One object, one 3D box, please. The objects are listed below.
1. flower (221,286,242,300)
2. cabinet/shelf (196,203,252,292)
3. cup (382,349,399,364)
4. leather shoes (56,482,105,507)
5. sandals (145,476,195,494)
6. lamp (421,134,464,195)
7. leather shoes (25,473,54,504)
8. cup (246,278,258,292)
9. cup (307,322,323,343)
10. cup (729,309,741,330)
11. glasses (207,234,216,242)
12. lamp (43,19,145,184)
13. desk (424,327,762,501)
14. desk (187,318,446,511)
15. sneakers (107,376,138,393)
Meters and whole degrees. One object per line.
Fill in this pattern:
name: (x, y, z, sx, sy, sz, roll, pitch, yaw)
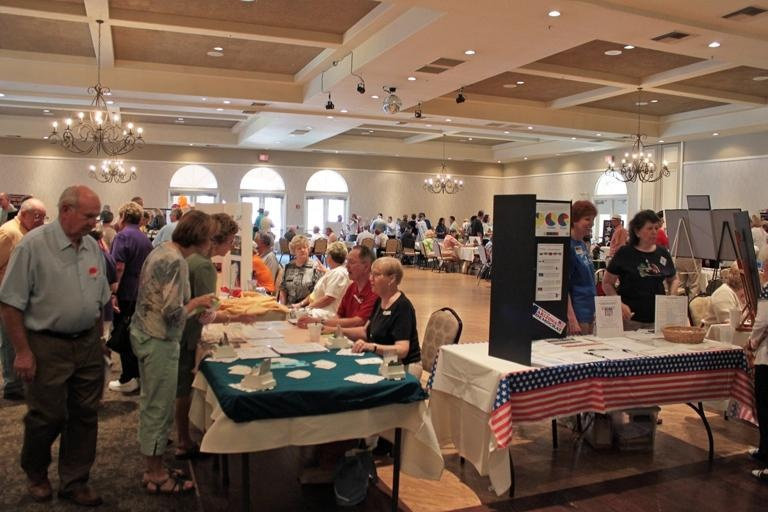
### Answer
flower: (-1.553, 0.385, 5.431, 0.174, 0.071, 0.218, 0, 2, -36)
cabinet/shelf: (-1.474, -0.063, 5.019, 0.327, 0.945, 0.969, 0, 3, -23)
cup: (0.037, 0.666, 3.557, 0.077, 0.072, 0.075, -1, -7, 0)
leather shoes: (-2.123, 1.649, 3.748, 0.296, 0.112, 0.139, 1, 1, 12)
sandals: (-1.547, 1.611, 3.850, 0.253, 0.086, 0.149, -1, 2, -5)
lamp: (2.271, -3.256, 20.045, 1.729, 2.693, 1.670, 1, -3, -3)
leather shoes: (-2.399, 1.616, 3.737, 0.114, 0.094, 0.245, 4, -2, -39)
cup: (-1.440, 0.324, 5.805, 0.053, 0.108, 0.102, -1, 0, 44)
cup: (-0.534, 0.600, 4.255, 0.116, 0.158, 0.172, -2, -2, 36)
cup: (3.018, 0.538, 4.584, 0.076, 0.178, 0.134, 11, 15, 41)
glasses: (-1.422, -0.151, 4.415, 0.091, 0.066, 0.115, -1, 16, -15)
lamp: (-6.087, -3.144, 11.104, 2.345, 3.312, 1.724, 0, -2, -9)
desk: (1.504, 1.178, 4.218, 2.195, 0.991, 0.830, -4, 12, -21)
desk: (-0.399, 1.069, 3.441, 1.052, 0.321, 1.298, 1, 3, -22)
sneakers: (-2.719, 1.342, 5.606, 0.371, 0.151, 0.134, 4, -1, 8)
